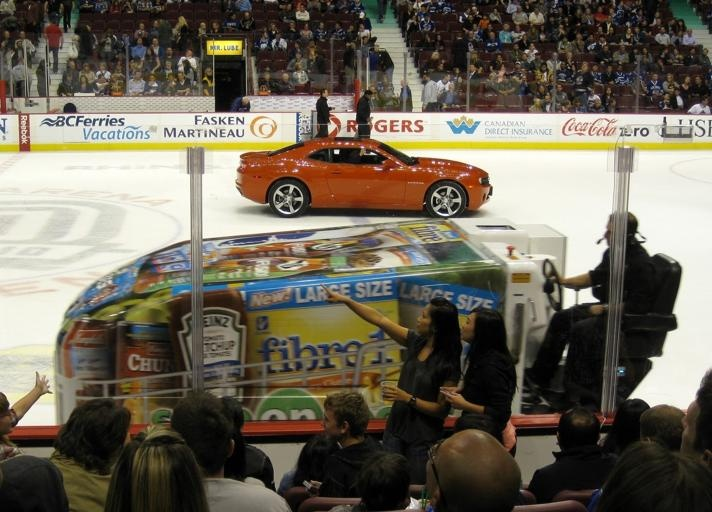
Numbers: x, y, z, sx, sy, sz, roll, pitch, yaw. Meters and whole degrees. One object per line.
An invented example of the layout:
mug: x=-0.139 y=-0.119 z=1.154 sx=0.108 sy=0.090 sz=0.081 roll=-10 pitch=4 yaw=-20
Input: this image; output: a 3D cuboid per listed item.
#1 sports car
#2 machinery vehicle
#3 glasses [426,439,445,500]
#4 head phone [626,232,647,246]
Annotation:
sports car: x=0.145 y=-1.396 z=15.232 sx=4.218 sy=1.098 sz=1.765 roll=-1 pitch=12 yaw=-2
machinery vehicle: x=0.338 y=0.417 z=7.459 sx=6.388 sy=2.092 sz=1.566 roll=-1 pitch=9 yaw=-8
glasses: x=0.356 y=1.007 z=3.975 sx=0.067 sy=0.217 sz=0.238 roll=1 pitch=3 yaw=20
head phone: x=2.076 y=-0.131 z=6.265 sx=0.101 sy=0.053 sz=0.127 roll=-1 pitch=7 yaw=-5
